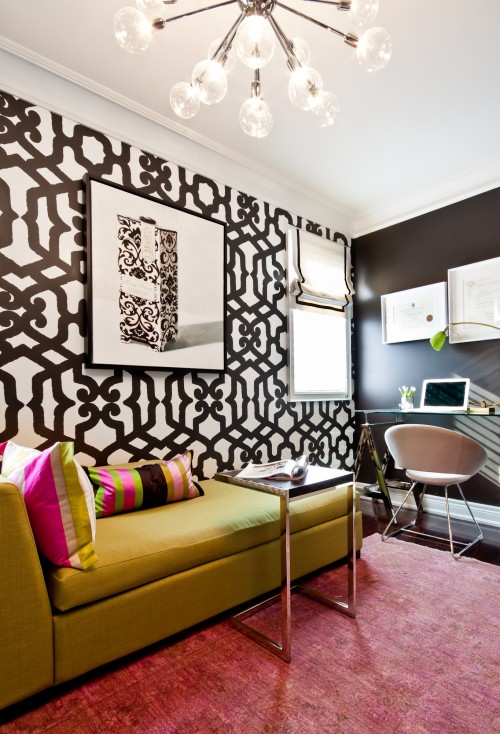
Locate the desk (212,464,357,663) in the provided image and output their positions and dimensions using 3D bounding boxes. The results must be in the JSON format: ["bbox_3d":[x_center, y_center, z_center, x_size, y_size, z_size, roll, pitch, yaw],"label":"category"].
[{"bbox_3d":[0.243,0.745,2.303,0.564,0.832,0.575,1,-2,-42],"label":"desk"}]

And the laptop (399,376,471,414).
[{"bbox_3d":[1.321,0.200,3.595,0.229,0.280,0.393,10,-12,-38],"label":"laptop"}]
